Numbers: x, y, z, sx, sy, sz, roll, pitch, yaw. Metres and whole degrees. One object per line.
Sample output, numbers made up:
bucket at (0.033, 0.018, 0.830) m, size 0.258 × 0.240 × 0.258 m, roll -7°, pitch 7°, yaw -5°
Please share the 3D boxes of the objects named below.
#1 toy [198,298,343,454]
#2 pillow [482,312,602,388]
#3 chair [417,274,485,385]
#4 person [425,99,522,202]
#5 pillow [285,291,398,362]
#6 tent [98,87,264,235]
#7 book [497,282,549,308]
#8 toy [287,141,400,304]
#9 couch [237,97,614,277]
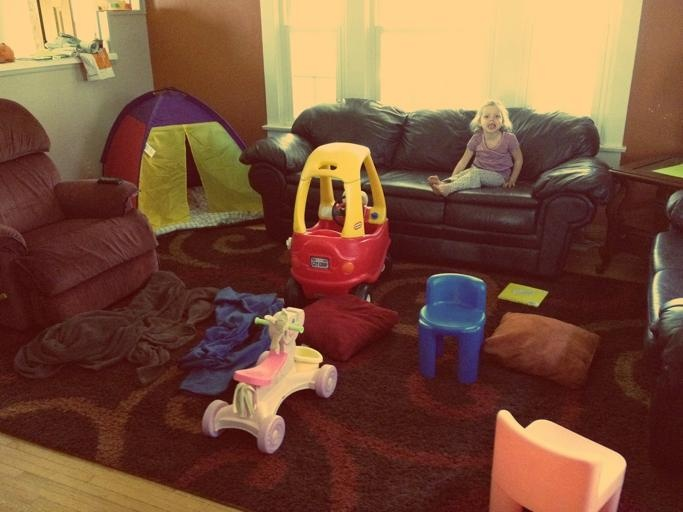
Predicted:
toy at (-0.307, 0.509, 2.525) m, size 0.346 × 0.500 × 0.637 m, roll 18°, pitch 31°, yaw 32°
pillow at (1.021, 0.468, 2.821) m, size 0.391 × 0.128 × 0.399 m, roll 11°, pitch 31°, yaw 27°
chair at (0.565, 0.369, 2.831) m, size 0.388 × 0.450 × 0.399 m, roll -12°, pitch 21°, yaw -22°
person at (0.903, -0.716, 3.779) m, size 0.796 × 0.622 × 0.405 m, roll -24°, pitch 28°, yaw -38°
pillow at (-0.026, 0.335, 3.140) m, size 0.617 × 0.145 × 0.619 m, roll -10°, pitch 41°, yaw 3°
tent at (-1.102, -1.036, 4.839) m, size 1.240 × 1.048 × 1.145 m, roll -3°, pitch 35°, yaw 21°
book at (1.146, 0.235, 3.451) m, size 0.185 × 0.008 × 0.164 m, roll 14°, pitch 27°, yaw 34°
toy at (-0.015, -0.260, 3.559) m, size 0.572 × 0.894 × 0.902 m, roll 5°, pitch 19°, yaw 19°
couch at (0.603, -0.600, 4.151) m, size 2.584 × 0.988 × 0.880 m, roll 8°, pitch 28°, yaw 22°
